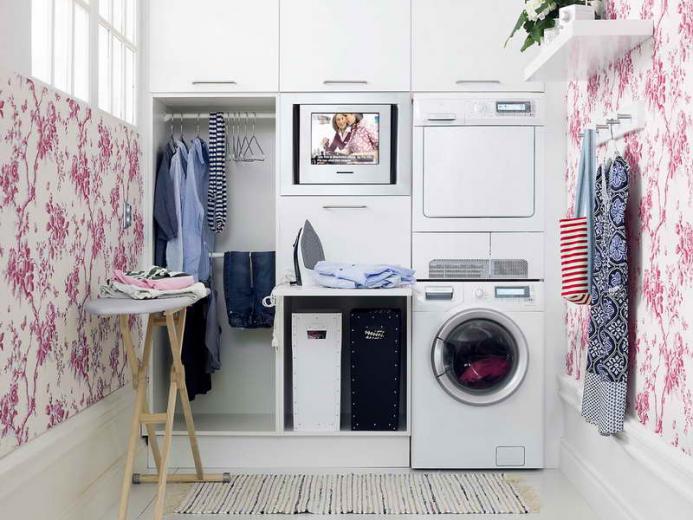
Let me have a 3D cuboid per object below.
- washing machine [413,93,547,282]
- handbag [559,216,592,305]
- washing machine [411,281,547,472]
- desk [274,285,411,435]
[{"bbox_3d":[0.649,-0.400,3.893,0.894,1.532,0.927,0,-1,-1],"label":"washing machine"},{"bbox_3d":[1.106,0.003,2.847,0.135,0.406,0.162,0,-4,24],"label":"handbag"},{"bbox_3d":[0.745,0.690,3.840,0.889,1.499,0.914,0,-3,0],"label":"washing machine"},{"bbox_3d":[-0.011,0.591,3.485,0.780,0.852,0.727,2,-4,7],"label":"desk"}]
